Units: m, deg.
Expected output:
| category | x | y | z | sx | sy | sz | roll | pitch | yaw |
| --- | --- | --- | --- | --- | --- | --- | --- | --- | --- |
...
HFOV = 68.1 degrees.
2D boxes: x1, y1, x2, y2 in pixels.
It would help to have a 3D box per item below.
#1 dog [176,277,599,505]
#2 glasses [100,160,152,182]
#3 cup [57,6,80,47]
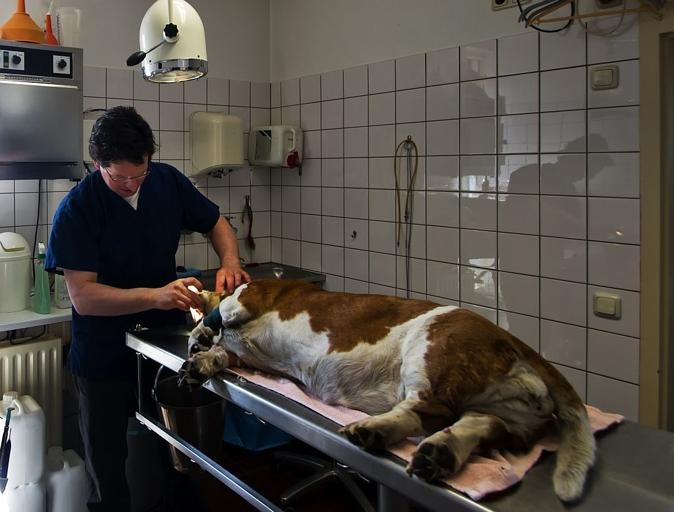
| category | x | y | z | sx | sy | sz | roll | pitch | yaw |
| --- | --- | --- | --- | --- | --- | --- | --- | --- | --- |
| dog | 0.110 | 0.232 | 1.217 | 0.892 | 0.430 | 0.334 | 10 | 49 | 38 |
| glasses | -0.711 | -0.281 | 1.692 | 0.092 | 0.072 | 0.124 | -10 | 8 | -34 |
| cup | -1.427 | -1.222 | 2.656 | 0.114 | 0.221 | 0.185 | -6 | 14 | -29 |
